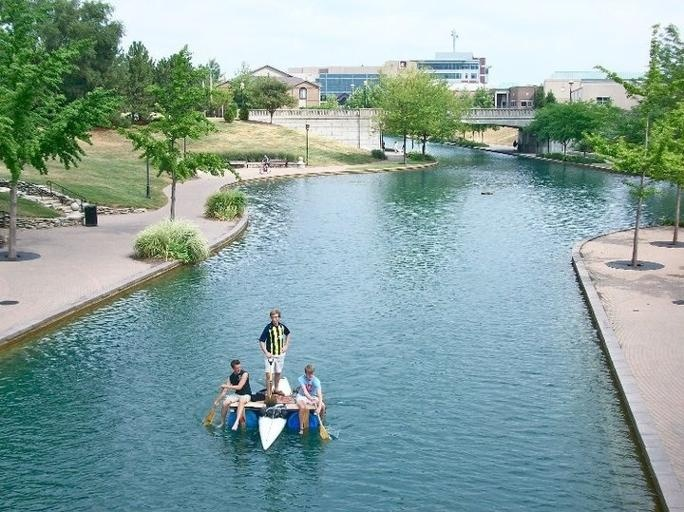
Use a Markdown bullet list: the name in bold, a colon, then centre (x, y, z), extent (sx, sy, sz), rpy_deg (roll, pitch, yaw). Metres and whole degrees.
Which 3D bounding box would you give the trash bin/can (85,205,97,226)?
- **trash bin/can**: centre (-12.827, -2.090, 37.424), extent (0.568, 1.100, 0.497), rpy_deg (-6, 16, -23)

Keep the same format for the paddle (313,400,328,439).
- **paddle**: centre (-0.424, 3.787, 16.691), extent (0.285, 0.719, 0.613), rpy_deg (-3, 14, -11)
